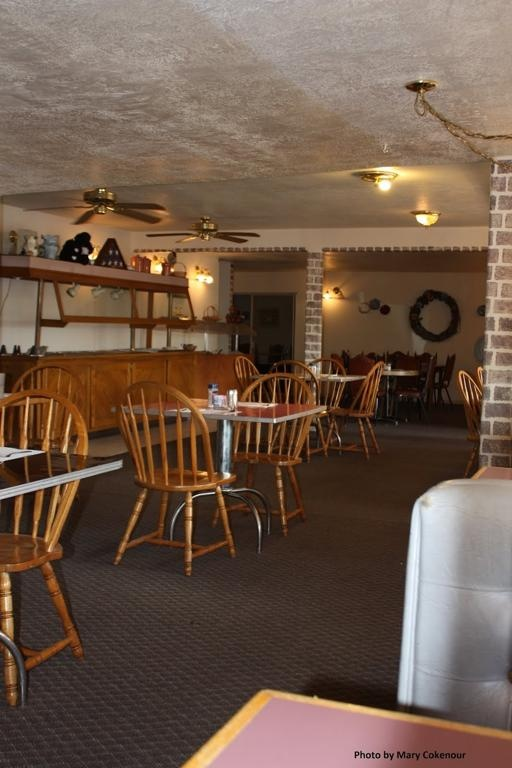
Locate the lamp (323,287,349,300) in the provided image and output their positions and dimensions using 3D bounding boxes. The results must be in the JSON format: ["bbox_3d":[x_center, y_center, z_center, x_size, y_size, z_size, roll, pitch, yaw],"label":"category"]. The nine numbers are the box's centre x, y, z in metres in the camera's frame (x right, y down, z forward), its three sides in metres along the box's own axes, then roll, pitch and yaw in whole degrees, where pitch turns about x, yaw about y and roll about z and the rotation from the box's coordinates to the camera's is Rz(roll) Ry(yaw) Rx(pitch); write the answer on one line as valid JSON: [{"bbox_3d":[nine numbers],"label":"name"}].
[{"bbox_3d":[1.925,-2.205,13.661,0.466,0.205,0.327,4,-2,-37],"label":"lamp"}]

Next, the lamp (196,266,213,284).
[{"bbox_3d":[-0.962,-2.035,10.341,0.283,0.273,0.107,5,2,-25],"label":"lamp"}]

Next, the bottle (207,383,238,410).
[{"bbox_3d":[-0.208,0.071,3.517,0.163,0.132,0.162,1,5,12],"label":"bottle"}]
